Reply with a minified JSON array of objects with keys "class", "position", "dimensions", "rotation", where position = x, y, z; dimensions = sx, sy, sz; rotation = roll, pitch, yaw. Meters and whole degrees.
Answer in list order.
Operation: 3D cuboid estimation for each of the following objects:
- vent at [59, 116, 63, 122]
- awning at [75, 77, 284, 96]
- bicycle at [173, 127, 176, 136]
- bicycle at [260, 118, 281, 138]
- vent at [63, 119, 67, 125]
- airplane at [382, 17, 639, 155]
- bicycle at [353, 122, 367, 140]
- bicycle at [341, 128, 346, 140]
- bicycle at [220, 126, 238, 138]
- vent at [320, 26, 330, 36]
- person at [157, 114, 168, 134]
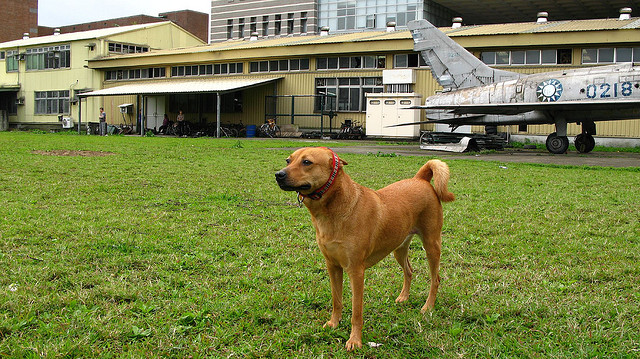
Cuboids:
[{"class":"vent","position":[-23.888,-5.570,46.316],"dimensions":[0.232,0.525,0.948],"rotation":[-2,6,-32]},{"class":"awning","position":[-10.615,-7.081,38.541],"dimensions":[8.869,0.444,3.363],"rotation":[2,24,26]},{"class":"bicycle","position":[-11.653,-3.857,39.952],"dimensions":[0.109,0.550,0.901],"rotation":[0,6,-20]},{"class":"bicycle","position":[-3.662,-3.864,37.603],"dimensions":[1.929,1.122,0.938],"rotation":[5,6,30]},{"class":"vent","position":[-22.783,-5.133,44.817],"dimensions":[0.301,0.377,0.143],"rotation":[2,3,13]},{"class":"airplane","position":[9.889,-4.248,24.490],"dimensions":[9.623,3.701,8.544],"rotation":[5,9,45]},{"class":"bicycle","position":[2.771,-3.437,35.299],"dimensions":[0.892,1.152,0.489],"rotation":[-3,7,-42]},{"class":"bicycle","position":[1.560,-3.205,34.976],"dimensions":[0.202,0.741,0.380],"rotation":[3,6,16]},{"class":"bicycle","position":[-6.910,-3.524,37.626],"dimensions":[1.404,0.795,0.711],"rotation":[-3,3,2]},{"class":"vent","position":[0.378,-12.858,42.813],"dimensions":[1.006,0.661,0.761],"rotation":[0,1,-1]},{"class":"person","position":[-13.094,-4.644,41.850],"dimensions":[0.681,1.499,2.132],"rotation":[0,6,-18]}]
